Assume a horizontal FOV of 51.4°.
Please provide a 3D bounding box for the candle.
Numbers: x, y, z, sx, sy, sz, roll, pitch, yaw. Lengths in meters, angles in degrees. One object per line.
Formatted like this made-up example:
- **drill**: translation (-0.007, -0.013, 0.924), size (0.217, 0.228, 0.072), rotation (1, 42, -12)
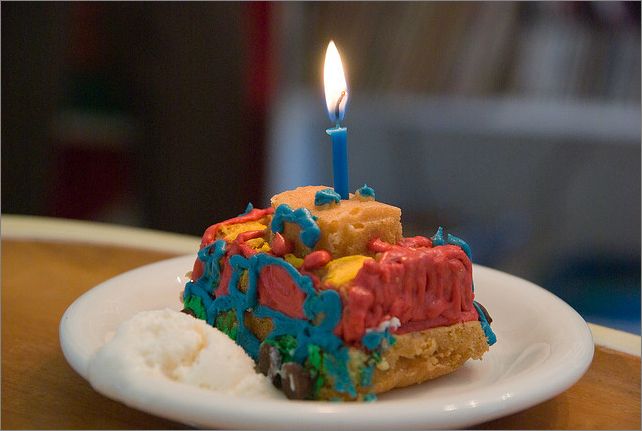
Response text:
- **candle**: translation (0.056, -0.334, 2.271), size (0.100, 0.515, 0.287), rotation (2, 15, -1)
